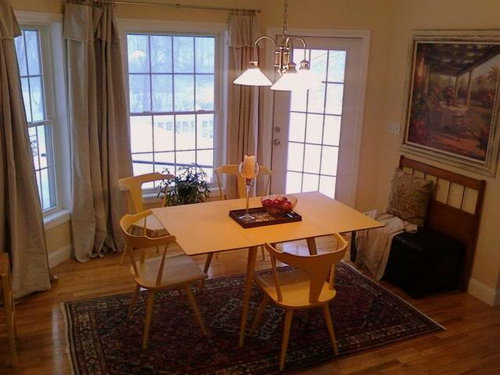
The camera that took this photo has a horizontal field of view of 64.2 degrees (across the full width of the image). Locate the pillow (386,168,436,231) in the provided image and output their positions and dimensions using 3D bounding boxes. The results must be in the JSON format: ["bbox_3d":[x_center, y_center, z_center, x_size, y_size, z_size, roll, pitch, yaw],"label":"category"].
[{"bbox_3d":[1.764,0.152,4.326,0.229,0.581,0.543,8,9,-36],"label":"pillow"}]

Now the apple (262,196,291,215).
[{"bbox_3d":[0.232,0.151,3.478,0.183,0.092,0.182,4,11,20],"label":"apple"}]

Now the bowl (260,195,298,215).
[{"bbox_3d":[0.245,0.150,3.469,0.207,0.074,0.206,-1,9,0],"label":"bowl"}]

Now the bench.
[{"bbox_3d":[1.792,0.452,4.127,0.490,1.339,1.244,-5,15,-17],"label":"bench"}]

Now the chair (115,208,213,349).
[{"bbox_3d":[-0.735,0.747,3.387,0.712,0.914,0.698,-1,14,-16],"label":"chair"}]

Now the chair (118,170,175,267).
[{"bbox_3d":[-1.019,0.347,4.172,0.691,0.852,0.632,-9,17,-39],"label":"chair"}]

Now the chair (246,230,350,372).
[{"bbox_3d":[0.385,0.983,3.281,0.747,1.135,0.779,-7,24,-18],"label":"chair"}]

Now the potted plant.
[{"bbox_3d":[-0.804,-0.053,4.821,0.502,0.415,0.612,-3,7,-36],"label":"potted plant"}]
